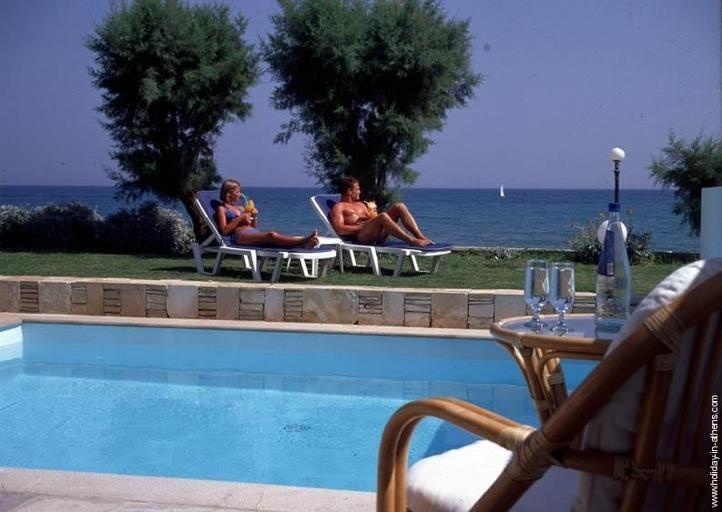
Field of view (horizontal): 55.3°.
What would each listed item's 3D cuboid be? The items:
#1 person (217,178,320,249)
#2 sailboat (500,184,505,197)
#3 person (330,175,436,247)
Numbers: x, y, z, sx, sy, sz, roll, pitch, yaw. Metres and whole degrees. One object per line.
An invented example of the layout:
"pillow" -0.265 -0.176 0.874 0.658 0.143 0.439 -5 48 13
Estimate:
"person" -1.137 -0.468 8.408 1.220 0.818 0.522 5 7 14
"sailboat" 8.801 -4.079 42.869 0.246 1.050 0.258 -1 23 20
"person" 0.319 -0.583 9.235 1.413 1.027 0.729 -1 -4 30
